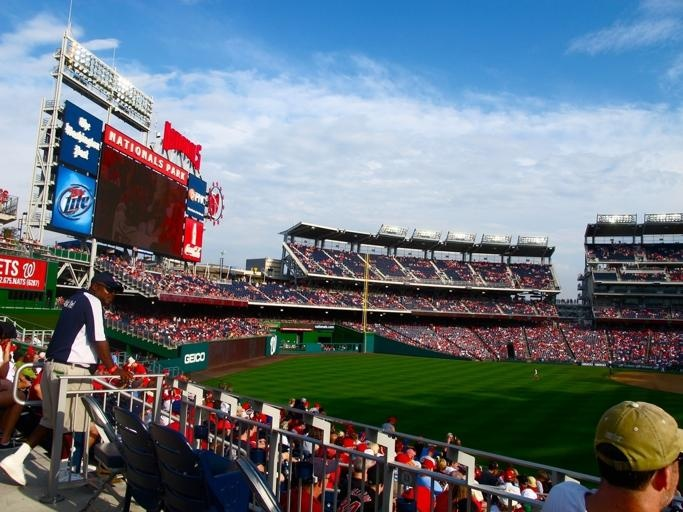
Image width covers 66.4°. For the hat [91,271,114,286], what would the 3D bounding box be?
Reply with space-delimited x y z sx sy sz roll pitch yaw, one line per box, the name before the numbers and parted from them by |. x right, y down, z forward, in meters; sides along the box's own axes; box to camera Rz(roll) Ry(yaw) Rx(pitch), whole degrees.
hat | -2.528 0.243 5.493 0.215 0.105 0.145 0 -2 -21
